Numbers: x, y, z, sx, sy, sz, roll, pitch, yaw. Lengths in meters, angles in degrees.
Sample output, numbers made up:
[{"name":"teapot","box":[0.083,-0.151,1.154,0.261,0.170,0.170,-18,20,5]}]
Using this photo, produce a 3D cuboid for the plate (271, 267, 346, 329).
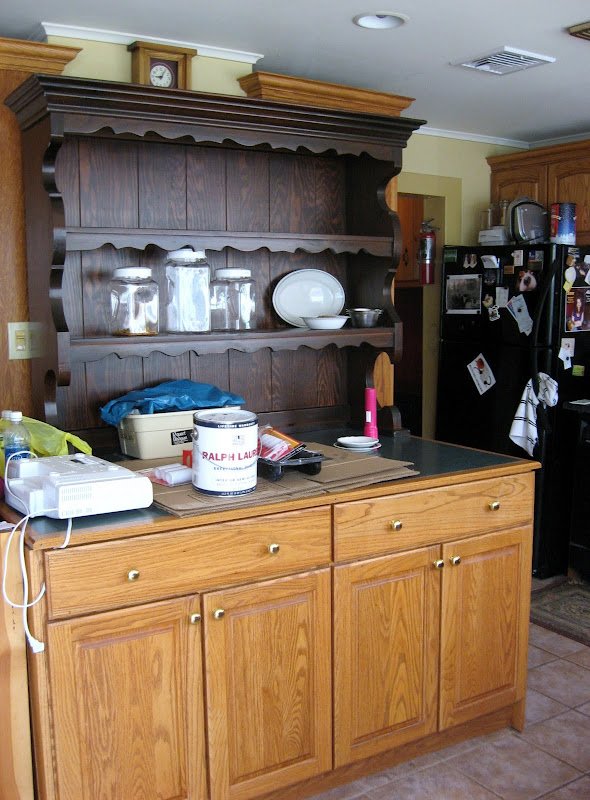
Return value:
[{"name":"plate","box":[0.045,-0.350,2.232,0.213,0.216,0.035,-11,13,-22]}]

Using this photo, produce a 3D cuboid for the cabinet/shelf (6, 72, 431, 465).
[{"name":"cabinet/shelf","box":[-0.256,-0.389,1.941,1.290,1.100,0.361,-3,3,-34]}]

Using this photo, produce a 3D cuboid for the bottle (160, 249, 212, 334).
[{"name":"bottle","box":[-0.303,-0.306,1.866,0.129,0.233,0.110,-4,9,-11]}]

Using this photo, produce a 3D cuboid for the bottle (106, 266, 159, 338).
[{"name":"bottle","box":[-0.455,-0.277,1.864,0.147,0.181,0.286,-4,9,-12]}]

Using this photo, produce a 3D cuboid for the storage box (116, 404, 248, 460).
[{"name":"storage box","box":[-0.362,0.078,1.849,0.227,0.096,0.151,-2,2,-33]}]

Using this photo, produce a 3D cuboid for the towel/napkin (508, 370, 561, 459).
[{"name":"towel/napkin","box":[1.203,0.081,3.331,0.206,0.420,0.159,2,10,23]}]

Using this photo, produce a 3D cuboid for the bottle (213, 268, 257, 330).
[{"name":"bottle","box":[-0.190,-0.301,2.049,0.178,0.207,0.149,-3,7,-35]}]
